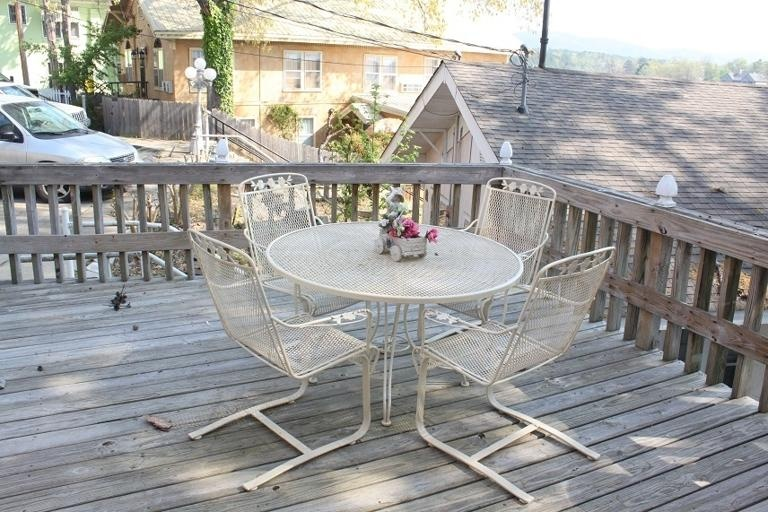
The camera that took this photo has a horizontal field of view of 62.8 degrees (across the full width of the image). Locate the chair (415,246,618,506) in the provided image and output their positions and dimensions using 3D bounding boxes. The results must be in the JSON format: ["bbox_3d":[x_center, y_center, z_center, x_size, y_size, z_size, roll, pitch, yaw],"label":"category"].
[{"bbox_3d":[0.801,0.624,3.694,0.933,1.314,0.796,21,27,40],"label":"chair"}]

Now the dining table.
[{"bbox_3d":[0.115,0.558,4.334,1.571,0.817,1.402,-9,32,-24],"label":"dining table"}]

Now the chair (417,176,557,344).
[{"bbox_3d":[0.781,-0.070,4.884,0.775,1.074,0.851,17,16,30],"label":"chair"}]

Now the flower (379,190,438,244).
[{"bbox_3d":[0.162,-0.256,4.170,0.311,0.196,0.413,6,-1,2],"label":"flower"}]

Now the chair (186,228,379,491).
[{"bbox_3d":[-0.590,0.516,3.816,1.160,1.361,0.890,-11,25,-34],"label":"chair"}]
